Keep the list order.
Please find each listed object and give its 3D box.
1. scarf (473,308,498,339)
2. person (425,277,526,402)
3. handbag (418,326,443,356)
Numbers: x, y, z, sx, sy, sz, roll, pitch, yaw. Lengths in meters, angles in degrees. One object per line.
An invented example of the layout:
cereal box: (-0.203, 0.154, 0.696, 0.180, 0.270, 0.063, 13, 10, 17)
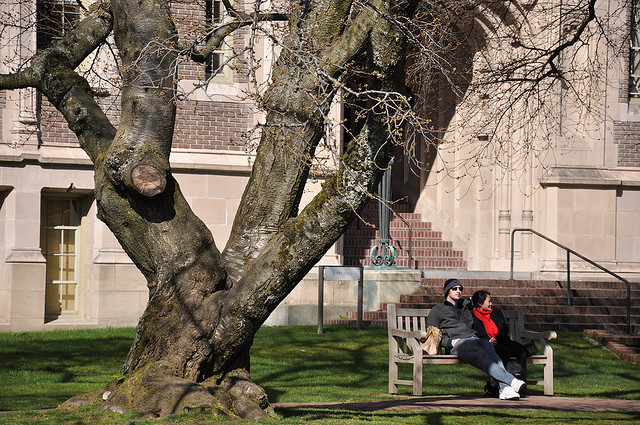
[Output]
scarf: (3.253, 2.139, 25.616, 0.387, 0.522, 0.142, -2, -12, -14)
person: (3.028, 2.360, 25.278, 1.167, 1.427, 2.454, -13, 34, -26)
handbag: (2.142, 2.486, 25.525, 0.546, 0.569, 0.341, 6, -7, -12)
